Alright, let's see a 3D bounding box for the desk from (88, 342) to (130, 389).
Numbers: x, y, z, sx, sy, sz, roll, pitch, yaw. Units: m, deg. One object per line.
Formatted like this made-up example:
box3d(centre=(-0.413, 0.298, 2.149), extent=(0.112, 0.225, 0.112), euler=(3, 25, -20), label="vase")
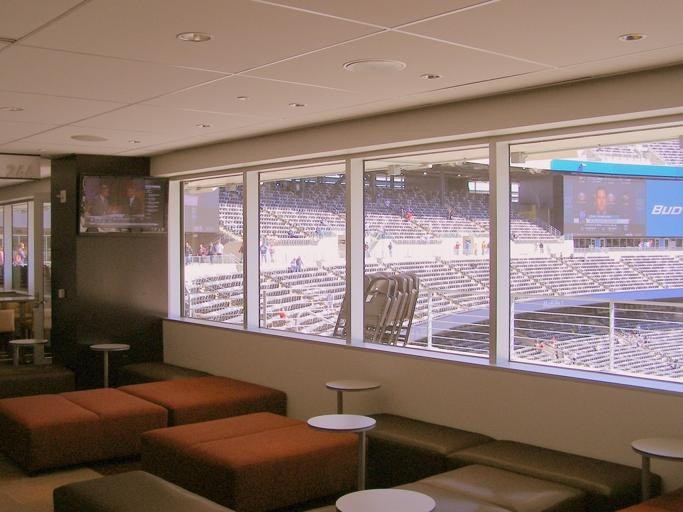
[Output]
box3d(centre=(-2.672, 1.279, 6.370), extent=(0.533, 0.420, 0.448), euler=(3, -18, -1), label="desk")
